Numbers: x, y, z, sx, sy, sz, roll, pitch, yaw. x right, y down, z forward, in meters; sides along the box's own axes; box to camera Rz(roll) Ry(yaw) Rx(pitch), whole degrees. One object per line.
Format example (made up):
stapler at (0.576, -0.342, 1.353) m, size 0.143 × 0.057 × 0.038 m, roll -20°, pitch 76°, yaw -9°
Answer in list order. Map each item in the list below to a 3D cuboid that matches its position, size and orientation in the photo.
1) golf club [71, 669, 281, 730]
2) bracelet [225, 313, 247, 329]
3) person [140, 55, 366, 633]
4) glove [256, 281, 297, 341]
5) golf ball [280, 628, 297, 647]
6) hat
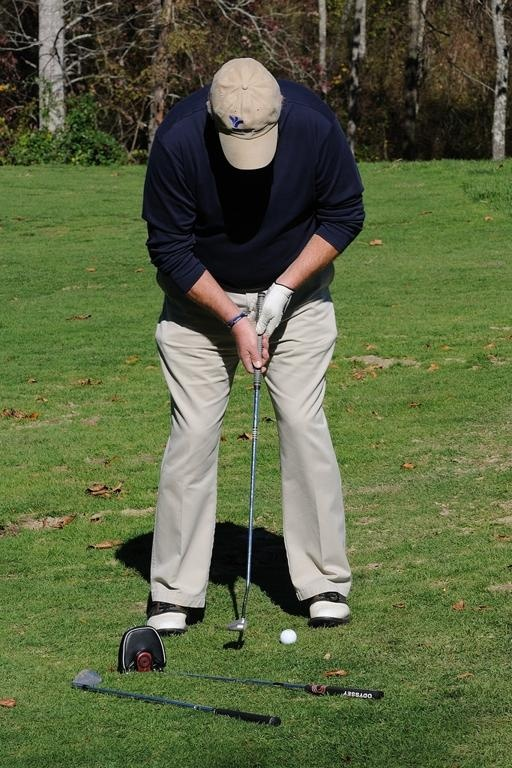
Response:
golf club at (-0.251, 0.942, 3.080) m, size 0.621 × 0.029 × 0.194 m, roll 3°, pitch 28°, yaw 21°
bracelet at (-0.065, -0.213, 3.500) m, size 0.064 × 0.022 × 0.053 m, roll -34°, pitch 2°, yaw 1°
person at (-0.041, -0.108, 3.593) m, size 0.851 × 1.929 × 0.555 m, roll -2°, pitch 14°, yaw 5°
glove at (0.074, -0.256, 3.473) m, size 0.082 × 0.232 × 0.062 m, roll 11°, pitch 39°, yaw -8°
golf ball at (0.113, 0.860, 3.512) m, size 0.052 × 0.044 × 0.049 m, roll 1°, pitch -26°, yaw 1°
hat at (-0.023, -0.825, 3.165) m, size 0.276 × 0.313 × 0.143 m, roll -3°, pitch -1°, yaw -1°
